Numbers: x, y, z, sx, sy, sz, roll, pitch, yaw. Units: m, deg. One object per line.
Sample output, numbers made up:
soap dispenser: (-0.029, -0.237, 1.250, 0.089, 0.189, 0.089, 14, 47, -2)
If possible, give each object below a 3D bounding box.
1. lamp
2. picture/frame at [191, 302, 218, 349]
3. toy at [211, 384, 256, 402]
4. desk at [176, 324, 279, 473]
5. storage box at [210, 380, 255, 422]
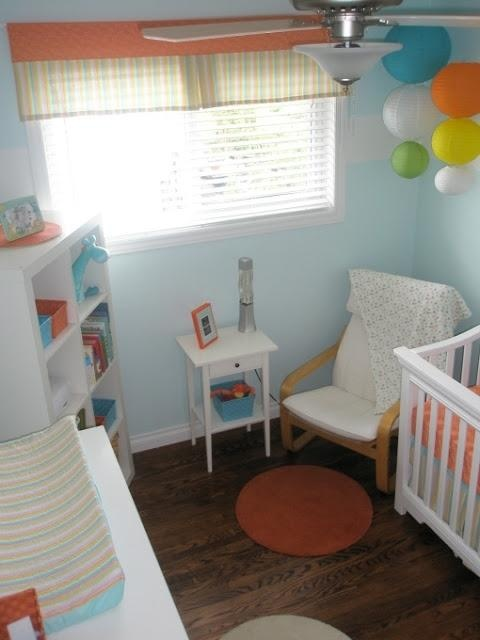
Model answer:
lamp: (0.237, -0.542, 1.002, 0.203, 0.083, 0.238, 6, 24, 28)
picture/frame: (-0.210, 0.036, 2.768, 0.032, 0.247, 0.183, 0, 26, 38)
toy: (-0.044, 0.432, 2.895, 0.139, 0.044, 0.150, -2, 3, 32)
desk: (-0.098, 0.470, 2.896, 0.590, 0.827, 0.419, -13, 33, -17)
storage box: (-0.051, 0.460, 2.900, 0.226, 0.140, 0.221, -6, 14, -21)
